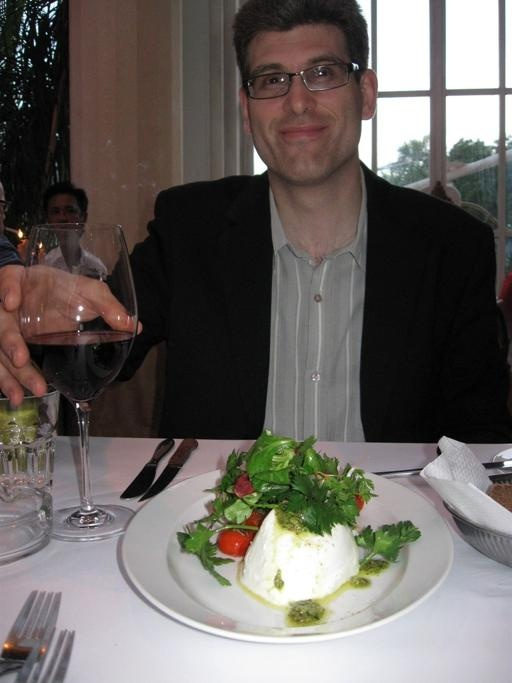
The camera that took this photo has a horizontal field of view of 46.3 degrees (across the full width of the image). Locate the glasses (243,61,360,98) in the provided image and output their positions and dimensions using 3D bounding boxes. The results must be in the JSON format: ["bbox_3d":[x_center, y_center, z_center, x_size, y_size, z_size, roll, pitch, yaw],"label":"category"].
[{"bbox_3d":[0.122,-0.679,1.579,0.292,0.086,0.070,0,8,7],"label":"glasses"}]
